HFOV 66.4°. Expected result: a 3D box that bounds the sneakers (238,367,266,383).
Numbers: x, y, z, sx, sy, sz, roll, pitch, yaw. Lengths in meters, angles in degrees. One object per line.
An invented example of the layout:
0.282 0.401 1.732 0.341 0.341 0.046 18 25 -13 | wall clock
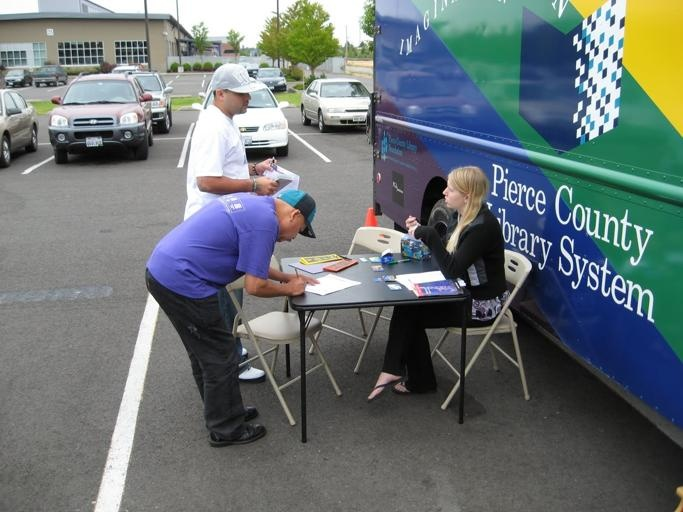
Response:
-0.795 1.029 4.617 0.230 0.113 0.129 3 17 19 | sneakers

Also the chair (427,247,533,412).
1.134 0.584 4.458 0.790 1.195 0.786 -4 10 -18 | chair

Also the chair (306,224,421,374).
0.159 0.405 5.085 0.869 1.216 0.857 -3 15 -10 | chair

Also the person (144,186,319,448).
-0.777 0.441 3.862 1.226 1.806 0.752 -5 14 -31 | person

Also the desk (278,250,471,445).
0.213 0.893 4.307 1.289 1.073 1.479 -1 -8 5 | desk

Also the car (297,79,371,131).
-0.472 -5.675 20.587 1.980 1.697 4.682 -5 17 -15 | car

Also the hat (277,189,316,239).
-0.300 -0.245 3.518 0.240 0.358 0.247 -5 23 -7 | hat

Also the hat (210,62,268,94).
-0.818 -1.369 4.196 0.390 0.214 0.289 -2 34 -18 | hat

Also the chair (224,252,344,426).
-0.444 0.677 4.321 0.753 1.123 0.839 -21 -8 23 | chair

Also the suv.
-6.673 -3.641 14.560 2.737 2.286 2.295 -18 28 -31 | suv

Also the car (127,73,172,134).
-7.091 -5.680 19.441 1.523 1.495 2.953 -2 13 -7 | car
